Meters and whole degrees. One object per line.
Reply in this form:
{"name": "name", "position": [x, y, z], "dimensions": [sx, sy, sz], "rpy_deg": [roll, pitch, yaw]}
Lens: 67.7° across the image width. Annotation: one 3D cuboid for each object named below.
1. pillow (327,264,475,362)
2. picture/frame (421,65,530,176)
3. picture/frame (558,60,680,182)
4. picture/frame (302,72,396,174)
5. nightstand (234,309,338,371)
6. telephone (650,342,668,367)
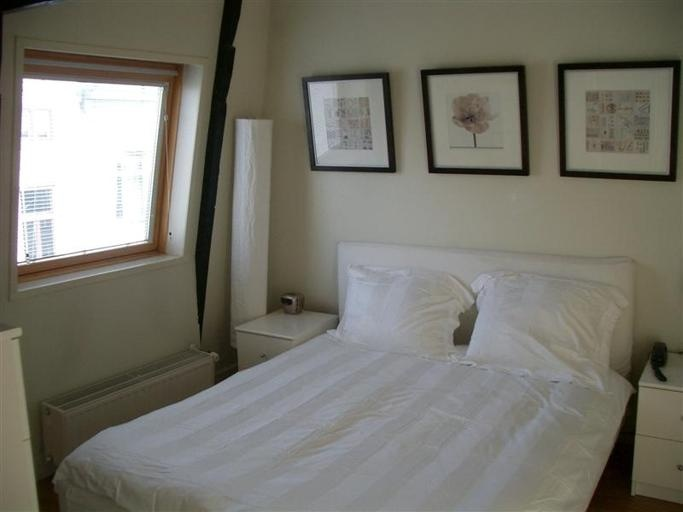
{"name": "pillow", "position": [0.428, 0.366, 3.401], "dimensions": [0.617, 0.685, 0.197], "rpy_deg": [7, -3, 12]}
{"name": "picture/frame", "position": [0.906, -0.903, 3.331], "dimensions": [0.707, 0.755, 0.024], "rpy_deg": [5, 19, 34]}
{"name": "picture/frame", "position": [1.658, -0.813, 2.988], "dimensions": [0.681, 0.730, 0.030], "rpy_deg": [6, 18, 31]}
{"name": "picture/frame", "position": [0.082, -0.989, 3.707], "dimensions": [0.711, 0.757, 0.027], "rpy_deg": [7, 22, 32]}
{"name": "nightstand", "position": [-0.416, 0.556, 3.827], "dimensions": [0.481, 0.497, 0.523], "rpy_deg": [6, 11, 31]}
{"name": "telephone", "position": [1.823, 0.541, 2.933], "dimensions": [0.073, 0.092, 0.244], "rpy_deg": [4, 19, 29]}
